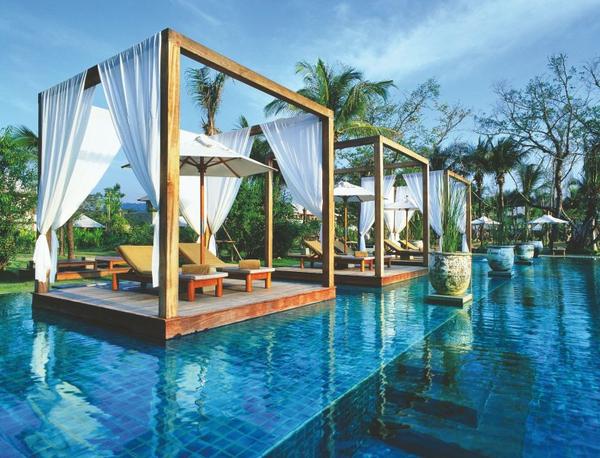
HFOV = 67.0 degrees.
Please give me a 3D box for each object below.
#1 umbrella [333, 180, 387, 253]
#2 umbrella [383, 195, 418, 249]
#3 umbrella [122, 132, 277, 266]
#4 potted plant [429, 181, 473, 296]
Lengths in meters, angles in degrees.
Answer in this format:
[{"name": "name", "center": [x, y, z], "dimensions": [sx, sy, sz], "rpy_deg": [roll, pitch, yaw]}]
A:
[{"name": "umbrella", "center": [1.086, -0.331, 11.905], "dimensions": [1.610, 1.823, 1.843], "rpy_deg": [-2, -3, 25]}, {"name": "umbrella", "center": [3.517, -0.182, 15.093], "dimensions": [1.372, 1.699, 1.375], "rpy_deg": [-1, -2, 38]}, {"name": "umbrella", "center": [-1.824, -0.663, 8.390], "dimensions": [2.065, 2.190, 2.018], "rpy_deg": [5, 18, -15]}, {"name": "potted plant", "center": [2.728, 0.244, 8.286], "dimensions": [0.686, 2.108, 1.284], "rpy_deg": [2, 4, 20]}]
